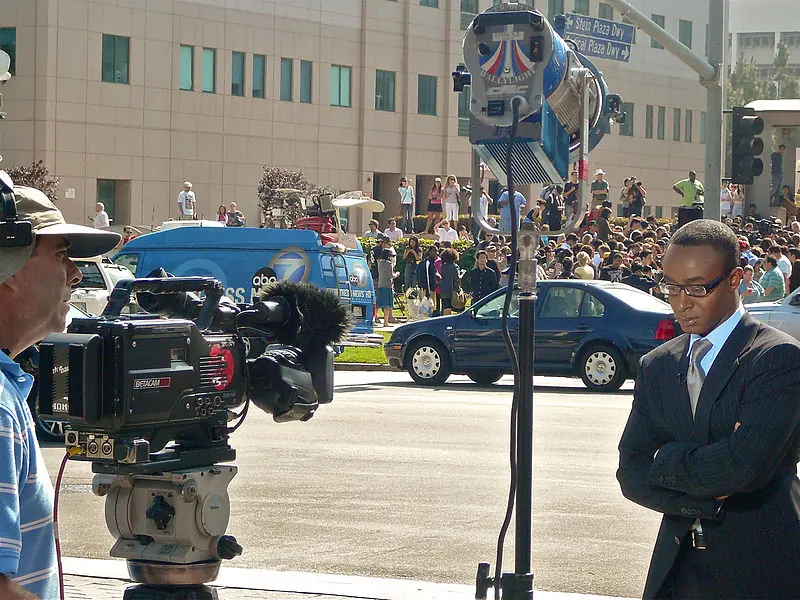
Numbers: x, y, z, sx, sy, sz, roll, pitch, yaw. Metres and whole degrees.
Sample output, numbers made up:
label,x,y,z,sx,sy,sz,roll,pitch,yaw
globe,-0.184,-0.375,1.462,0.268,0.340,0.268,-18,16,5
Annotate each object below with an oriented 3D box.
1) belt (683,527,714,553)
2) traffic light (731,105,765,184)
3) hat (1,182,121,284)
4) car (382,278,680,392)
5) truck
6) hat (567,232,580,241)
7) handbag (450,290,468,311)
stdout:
label,x,y,z,sx,sy,sz,roll,pitch,yaw
belt,1.919,1.495,11.832,0.120,0.186,0.111,-18,-14,35
traffic light,4.703,-2.120,24.912,0.429,1.033,0.940,1,6,11
hat,-2.177,-0.473,11.373,0.678,0.390,0.427,-17,-3,-27
car,1.947,0.453,25.721,3.479,1.379,1.586,1,0,25
truck,-2.534,-0.497,30.442,4.011,1.979,2.198,5,2,29
hat,3.208,-1.258,34.511,0.292,0.122,0.313,1,-2,0
handbag,1.052,-0.039,33.444,0.247,0.552,0.508,0,0,13
